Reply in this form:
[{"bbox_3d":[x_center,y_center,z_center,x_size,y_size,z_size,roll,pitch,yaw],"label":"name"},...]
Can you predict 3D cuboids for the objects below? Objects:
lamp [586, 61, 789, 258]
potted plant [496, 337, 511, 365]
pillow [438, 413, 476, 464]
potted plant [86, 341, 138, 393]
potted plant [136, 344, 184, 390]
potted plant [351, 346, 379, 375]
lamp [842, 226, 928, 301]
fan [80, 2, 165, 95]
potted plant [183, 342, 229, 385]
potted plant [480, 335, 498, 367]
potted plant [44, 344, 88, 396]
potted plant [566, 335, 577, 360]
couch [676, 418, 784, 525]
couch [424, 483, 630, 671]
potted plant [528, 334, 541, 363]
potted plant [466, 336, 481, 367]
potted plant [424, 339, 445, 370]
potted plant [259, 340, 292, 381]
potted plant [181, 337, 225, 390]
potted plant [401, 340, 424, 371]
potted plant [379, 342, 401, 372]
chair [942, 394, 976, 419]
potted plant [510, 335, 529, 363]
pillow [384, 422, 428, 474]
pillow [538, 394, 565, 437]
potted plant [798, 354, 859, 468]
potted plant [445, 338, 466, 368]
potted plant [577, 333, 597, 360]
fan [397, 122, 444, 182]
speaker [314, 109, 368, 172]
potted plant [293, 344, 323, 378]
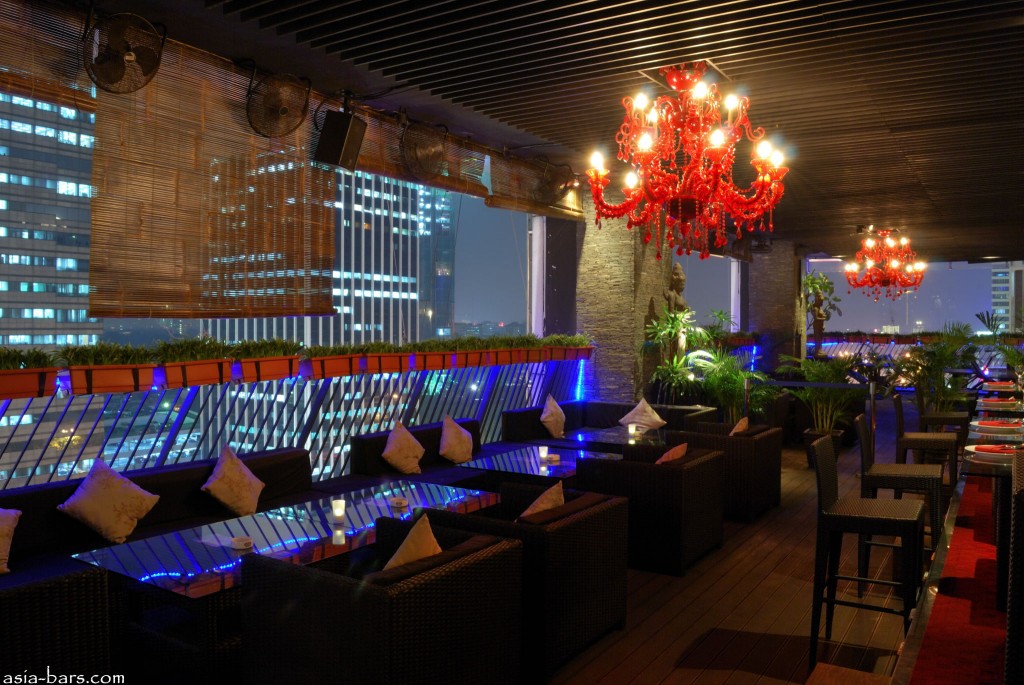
[{"bbox_3d":[1.580,-1.743,6.410,1.919,1.917,1.793,-7,27,-2],"label":"lamp"},{"bbox_3d":[-0.092,0.086,9.125,0.281,0.377,0.391,0,-1,10],"label":"potted plant"},{"bbox_3d":[-0.599,1.035,7.543,0.139,0.415,0.469,-20,-29,37],"label":"pillow"},{"bbox_3d":[-3.162,0.186,5.603,0.318,0.377,0.271,0,4,-27],"label":"potted plant"},{"bbox_3d":[-2.885,0.181,5.821,0.269,0.264,0.378,3,-9,-32],"label":"potted plant"},{"bbox_3d":[-1.507,0.178,7.372,0.266,0.245,0.256,3,-6,-35],"label":"potted plant"},{"bbox_3d":[7.567,-1.726,14.352,1.468,1.703,1.442,-2,0,-4],"label":"lamp"},{"bbox_3d":[-3.085,-2.319,5.597,0.712,0.688,0.206,5,13,-28],"label":"fan"},{"bbox_3d":[-2.636,0.167,6.099,0.358,0.307,0.342,1,-4,-25],"label":"potted plant"},{"bbox_3d":[-0.291,0.093,8.902,0.216,0.327,0.473,1,3,0],"label":"potted plant"},{"bbox_3d":[-3.403,0.189,5.422,0.276,0.342,0.210,-1,4,-32],"label":"potted plant"},{"bbox_3d":[0.840,0.043,9.961,0.169,0.308,0.318,2,3,18],"label":"potted plant"},{"bbox_3d":[2.265,1.324,7.679,1.012,0.929,0.972,1,3,40],"label":"couch"},{"bbox_3d":[0.084,1.628,5.141,1.170,0.992,1.118,1,3,41],"label":"couch"},{"bbox_3d":[0.306,0.083,9.527,0.156,0.353,0.425,1,3,1],"label":"potted plant"},{"bbox_3d":[-0.466,0.093,8.674,0.178,0.328,0.397,1,3,-2],"label":"potted plant"},{"bbox_3d":[-0.879,0.112,8.147,0.310,0.289,0.293,4,-7,-41],"label":"potted plant"},{"bbox_3d":[-2.208,0.159,6.626,0.429,0.393,0.306,1,0,-22],"label":"potted plant"},{"bbox_3d":[-2.643,0.174,6.097,0.351,0.414,0.459,-3,-4,36],"label":"potted plant"},{"bbox_3d":[-1.087,0.119,7.902,0.270,0.271,0.283,-1,-1,16],"label":"potted plant"},{"bbox_3d":[-1.288,0.168,7.617,0.251,0.234,0.336,6,0,-7],"label":"potted plant"},{"bbox_3d":[6.177,0.872,9.780,0.246,0.222,0.219,1,5,-10],"label":"chair"},{"bbox_3d":[0.059,0.067,9.310,0.324,0.297,0.313,-2,4,-9],"label":"potted plant"},{"bbox_3d":[-1.100,1.059,7.198,0.407,0.481,0.348,1,3,-7],"label":"pillow"},{"bbox_3d":[0.530,0.895,8.921,0.139,0.463,0.434,-13,40,23],"label":"pillow"},{"bbox_3d":[4.393,0.772,10.063,0.847,1.001,0.738,5,-4,22],"label":"potted plant"},{"bbox_3d":[-0.670,0.103,8.444,0.199,0.319,0.440,3,4,32],"label":"potted plant"},{"bbox_3d":[1.023,0.039,10.129,0.207,0.363,0.332,5,5,45],"label":"potted plant"},{"bbox_3d":[-1.001,-2.156,7.906,0.160,0.571,0.600,4,5,43],"label":"fan"},{"bbox_3d":[-1.756,-2.081,7.116,0.510,0.614,0.255,2,4,19],"label":"speaker"},{"bbox_3d":[-1.989,0.178,6.883,0.265,0.319,0.337,-5,-7,29],"label":"potted plant"}]
